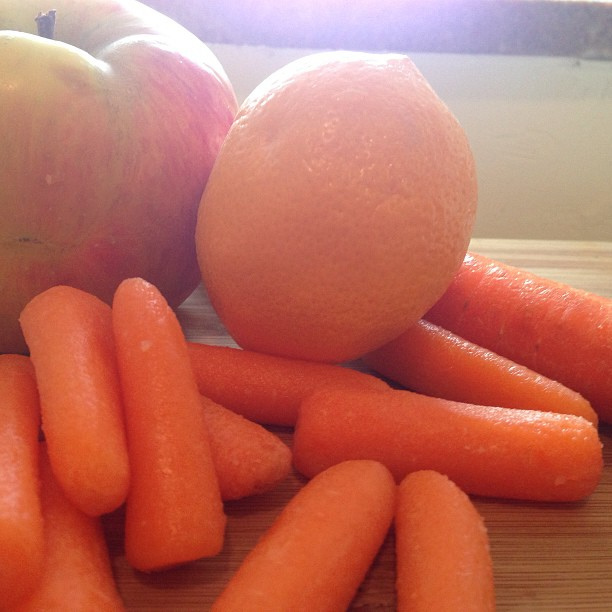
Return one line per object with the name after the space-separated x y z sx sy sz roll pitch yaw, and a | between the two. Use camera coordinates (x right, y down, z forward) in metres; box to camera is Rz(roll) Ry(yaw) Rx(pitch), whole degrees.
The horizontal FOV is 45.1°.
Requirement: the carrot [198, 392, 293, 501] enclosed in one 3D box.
-0.054 0.135 0.668 0.076 0.072 0.152 -3 3 -9 | carrot

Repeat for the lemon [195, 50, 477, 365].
0.041 -0.094 0.720 0.251 0.309 0.255 1 1 -1 | lemon

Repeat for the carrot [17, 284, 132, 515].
-0.192 0.070 0.599 0.094 0.073 0.237 6 30 -24 | carrot

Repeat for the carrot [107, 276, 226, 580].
-0.123 0.098 0.597 0.077 0.221 0.080 -17 -6 14 | carrot

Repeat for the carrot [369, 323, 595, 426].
0.199 0.049 0.777 0.295 0.076 0.058 1 7 -27 | carrot

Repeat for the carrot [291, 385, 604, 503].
0.121 0.116 0.670 0.322 0.102 0.104 7 76 4 | carrot
